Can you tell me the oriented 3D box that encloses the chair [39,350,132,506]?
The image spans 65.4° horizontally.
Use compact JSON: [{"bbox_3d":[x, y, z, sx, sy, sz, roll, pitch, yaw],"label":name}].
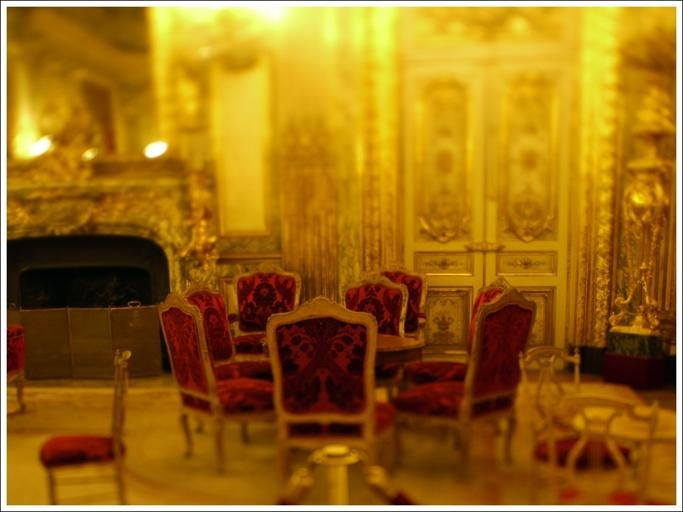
[{"bbox_3d":[-1.206,0.847,2.517,0.369,0.875,0.646,1,1,-23],"label":"chair"}]
